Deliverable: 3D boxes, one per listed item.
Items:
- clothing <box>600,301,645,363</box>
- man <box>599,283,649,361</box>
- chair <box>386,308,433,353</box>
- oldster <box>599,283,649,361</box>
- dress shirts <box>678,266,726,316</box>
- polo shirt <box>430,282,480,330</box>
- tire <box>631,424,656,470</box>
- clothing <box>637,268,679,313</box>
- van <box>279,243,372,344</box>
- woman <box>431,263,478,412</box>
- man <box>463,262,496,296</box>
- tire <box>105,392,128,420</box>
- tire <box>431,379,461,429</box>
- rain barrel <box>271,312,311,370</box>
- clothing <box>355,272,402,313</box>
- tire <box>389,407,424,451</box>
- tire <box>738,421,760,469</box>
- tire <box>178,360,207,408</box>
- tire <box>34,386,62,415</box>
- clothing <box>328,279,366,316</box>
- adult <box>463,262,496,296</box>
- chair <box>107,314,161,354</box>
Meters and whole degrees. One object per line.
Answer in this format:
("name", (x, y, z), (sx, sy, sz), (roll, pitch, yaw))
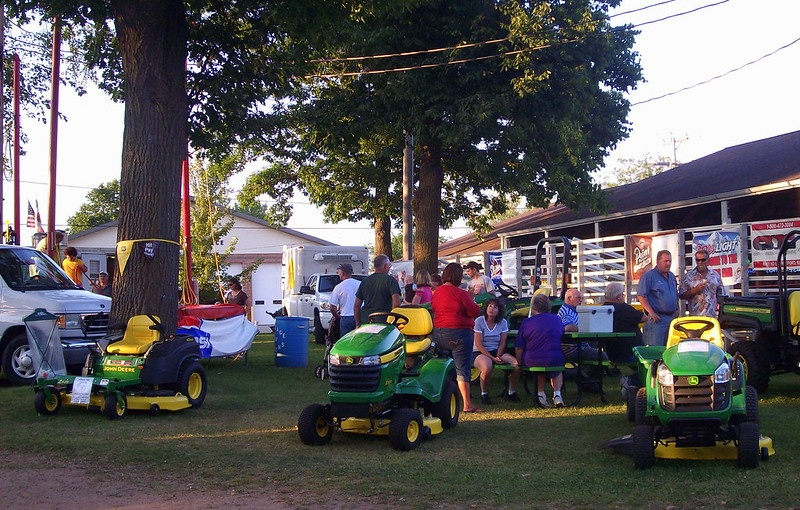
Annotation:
("clothing", (4.250, 1.514, 17.093), (1.098, 1.400, 0.707), (1, 6, 26))
("man", (4.564, 1.287, 17.938), (0.955, 1.498, 0.858), (-1, 13, 34))
("chair", (0.159, 1.407, 15.106), (0.703, 0.937, 0.907), (3, 16, 15))
("oldster", (4.538, 1.286, 17.937), (0.838, 1.527, 0.961), (-8, 14, -12))
("dress shirts", (6.124, 0.735, 17.971), (1.034, 1.250, 0.641), (0, -12, 3))
("polo shirt", (0.964, 0.916, 15.965), (0.976, 0.850, 0.553), (1, 6, 41))
("tire", (3.678, 2.965, 13.378), (0.282, 0.756, 0.745), (-3, -4, 16))
("clothing", (5.041, 0.731, 17.145), (0.937, 0.961, 0.551), (4, -10, -20))
("van", (-2.357, 0.910, 29.798), (1.951, 2.486, 4.256), (1, -5, -16))
("woman", (1.047, 1.449, 16.122), (0.900, 2.707, 0.883), (0, 3, 31))
("man", (2.033, 0.594, 22.204), (0.491, 0.833, 0.596), (-27, 5, -20))
("tire", (-5.032, 2.706, 15.822), (0.193, 0.377, 0.367), (-7, 15, 25))
("tire", (0.758, 2.547, 15.023), (0.289, 0.856, 0.835), (-3, 1, 27))
("rain barrel", (-2.740, 2.220, 22.390), (1.047, 1.202, 1.123), (2, -4, -7))
("clothing", (-0.388, 0.787, 17.100), (0.976, 0.875, 0.462), (-5, -5, 26))
("tire", (0.099, 2.796, 14.126), (0.222, 0.565, 0.553), (-4, -11, 38))
("tire", (5.069, 2.775, 12.952), (0.314, 0.609, 0.325), (2, 12, 20))
("tire", (-3.936, 2.467, 16.788), (0.273, 0.848, 0.829), (-1, 8, 19))
("tire", (-6.301, 2.634, 16.024), (0.187, 0.533, 0.518), (-3, -4, 37))
("clothing", (-1.090, 0.921, 19.022), (1.147, 1.034, 0.450), (1, 2, -1))
("adult", (2.033, 0.594, 22.204), (0.491, 0.833, 0.596), (-27, 5, -20))
("chair", (-4.824, 1.512, 16.214), (0.992, 0.645, 0.976), (-1, 3, -18))
